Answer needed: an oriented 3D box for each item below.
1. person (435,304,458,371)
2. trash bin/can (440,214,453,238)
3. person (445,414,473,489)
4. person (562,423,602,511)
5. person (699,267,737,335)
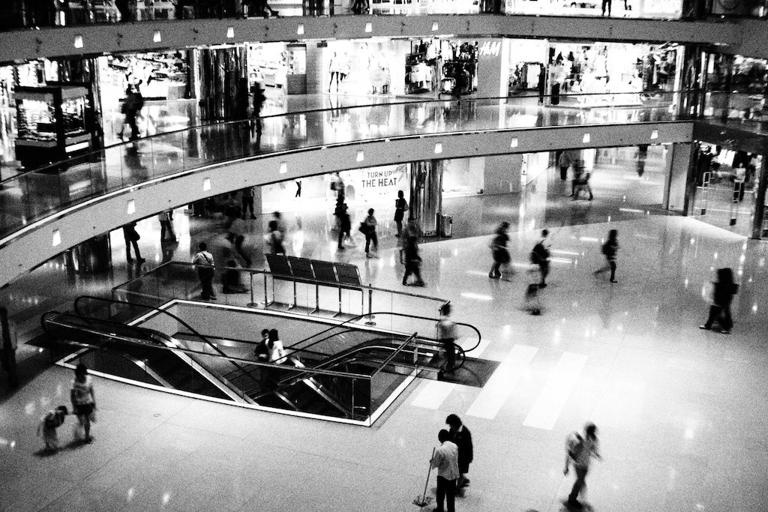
[{"bbox_3d":[1.915,2.356,17.992,0.698,2.171,0.669,-15,23,-30],"label":"person"},{"bbox_3d":[2.532,-1.218,25.221,0.455,0.889,0.368,-3,18,-5],"label":"trash bin/can"},{"bbox_3d":[1.458,3.879,12.242,0.602,1.518,0.510,2,8,12],"label":"person"},{"bbox_3d":[3.843,3.882,12.068,0.642,1.414,1.526,5,19,19],"label":"person"},{"bbox_3d":[9.668,1.204,17.844,0.802,2.055,1.189,9,21,29],"label":"person"}]
